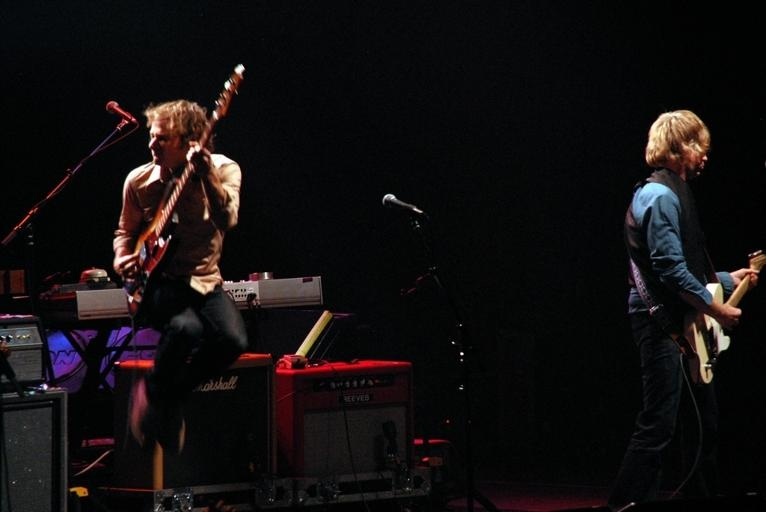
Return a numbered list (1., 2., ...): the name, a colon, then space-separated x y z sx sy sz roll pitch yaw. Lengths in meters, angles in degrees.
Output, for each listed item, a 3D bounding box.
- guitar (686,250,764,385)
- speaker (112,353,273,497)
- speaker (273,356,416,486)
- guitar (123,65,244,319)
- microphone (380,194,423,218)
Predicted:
1. guitar: 1.975 0.340 4.101 0.610 0.751 0.285 0 -11 -8
2. speaker: -1.040 0.854 4.149 0.925 0.944 0.657 2 -5 -37
3. speaker: -0.248 0.819 4.358 0.906 0.855 0.604 2 -8 -30
4. guitar: -1.106 -0.356 3.957 0.985 1.301 0.225 -12 -16 43
5. microphone: 0.141 -0.347 4.789 0.292 0.083 0.084 33 47 33
